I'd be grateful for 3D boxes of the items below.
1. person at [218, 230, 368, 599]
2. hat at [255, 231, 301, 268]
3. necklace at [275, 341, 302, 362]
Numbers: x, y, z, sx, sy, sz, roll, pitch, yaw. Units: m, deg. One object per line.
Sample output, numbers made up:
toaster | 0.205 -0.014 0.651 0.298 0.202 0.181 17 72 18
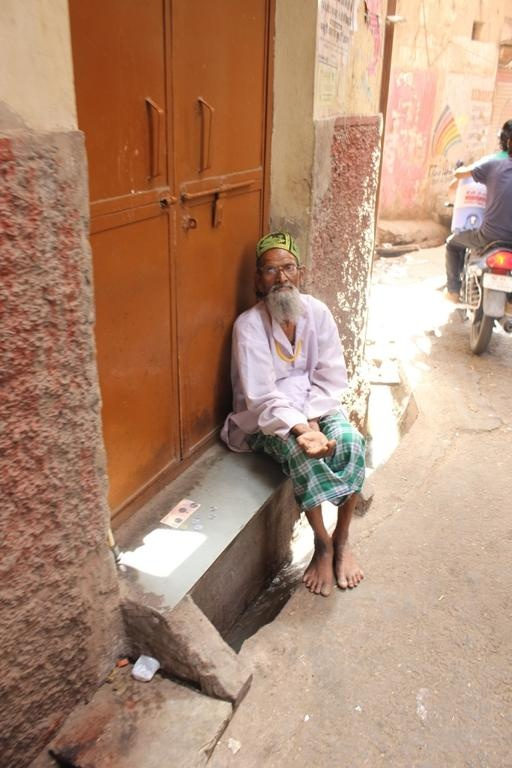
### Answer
person | 0.227 0.059 2.574 0.640 1.363 1.071 -8 23 -20
hat | 0.117 -0.667 2.656 0.162 0.128 0.169 -10 23 -16
necklace | 0.157 -0.153 2.718 0.097 0.103 0.021 4 -6 -40
